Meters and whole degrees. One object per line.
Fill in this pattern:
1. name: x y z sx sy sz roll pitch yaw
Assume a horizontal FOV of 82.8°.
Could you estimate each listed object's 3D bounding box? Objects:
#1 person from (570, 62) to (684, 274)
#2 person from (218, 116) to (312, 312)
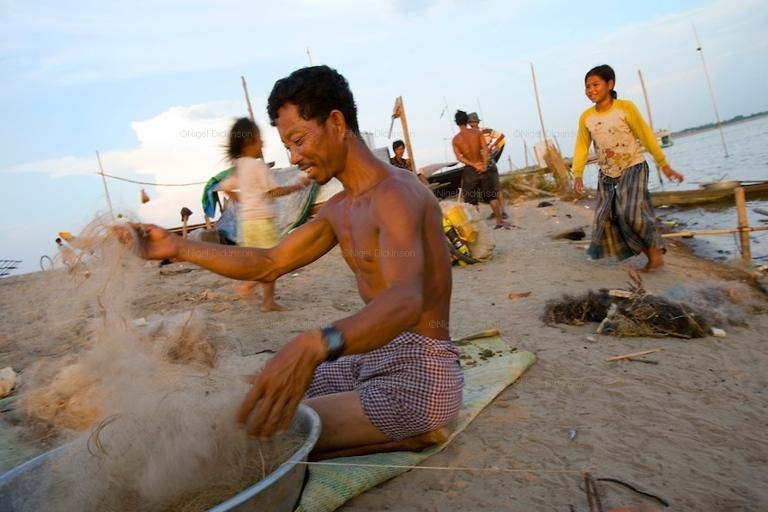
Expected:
1. person: 3.026 -1.049 5.531 1.116 2.612 0.715 -5 14 32
2. person: -1.454 -0.515 5.541 1.334 2.299 0.742 1 7 7
